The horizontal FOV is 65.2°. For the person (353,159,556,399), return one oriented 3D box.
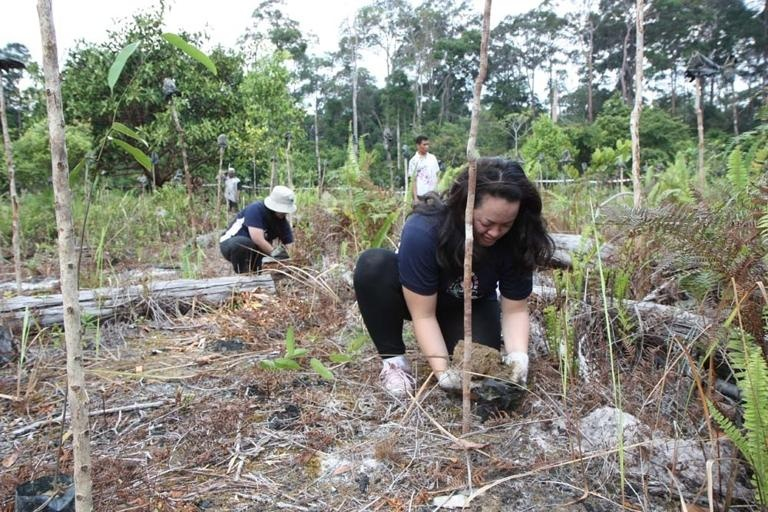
[{"bbox_3d":[0.460,0.119,4.086,1.153,1.623,1.020,8,19,8],"label":"person"}]

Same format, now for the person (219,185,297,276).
[{"bbox_3d":[-1.361,-0.175,6.489,0.879,1.161,0.727,7,1,4],"label":"person"}]

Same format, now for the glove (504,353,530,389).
[{"bbox_3d":[0.818,0.706,3.698,0.134,0.198,0.074,3,-24,-18],"label":"glove"}]

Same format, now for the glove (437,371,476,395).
[{"bbox_3d":[0.420,0.769,3.678,0.136,0.085,0.194,2,-4,-7],"label":"glove"}]

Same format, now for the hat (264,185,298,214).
[{"bbox_3d":[-1.088,-0.593,6.319,0.306,0.169,0.281,25,18,-24],"label":"hat"}]

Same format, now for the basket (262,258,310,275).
[{"bbox_3d":[-1.030,0.085,6.030,0.303,0.111,0.255,0,0,25],"label":"basket"}]
